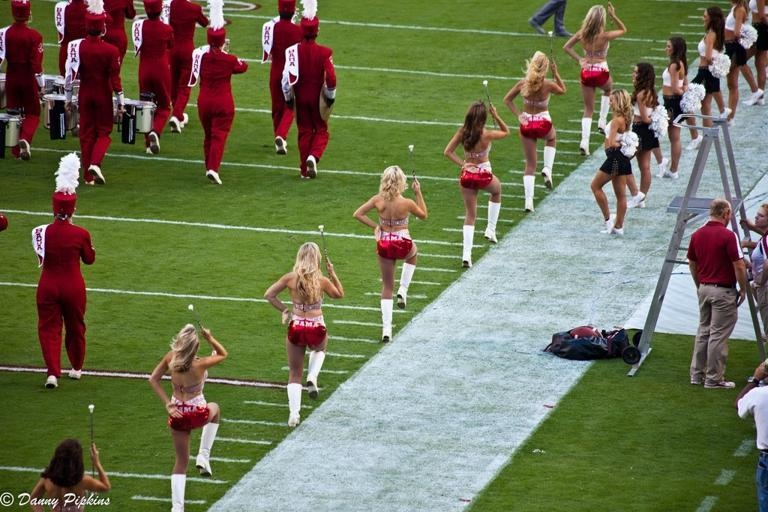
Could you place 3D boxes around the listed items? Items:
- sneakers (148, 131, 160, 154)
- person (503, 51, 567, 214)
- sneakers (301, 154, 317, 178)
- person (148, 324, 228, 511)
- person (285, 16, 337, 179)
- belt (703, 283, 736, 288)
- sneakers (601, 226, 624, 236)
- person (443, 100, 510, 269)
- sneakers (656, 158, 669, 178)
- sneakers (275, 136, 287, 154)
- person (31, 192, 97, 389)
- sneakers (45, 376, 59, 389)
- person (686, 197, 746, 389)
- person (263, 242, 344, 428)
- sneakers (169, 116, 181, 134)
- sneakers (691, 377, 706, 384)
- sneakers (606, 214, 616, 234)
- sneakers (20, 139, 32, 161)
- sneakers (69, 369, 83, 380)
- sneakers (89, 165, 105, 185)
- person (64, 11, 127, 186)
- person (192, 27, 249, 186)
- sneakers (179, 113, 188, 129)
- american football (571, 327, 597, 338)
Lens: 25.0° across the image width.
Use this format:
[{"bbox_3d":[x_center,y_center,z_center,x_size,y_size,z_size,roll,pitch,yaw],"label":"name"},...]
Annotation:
[{"bbox_3d":[-3.812,-1.886,28.653,0.164,0.385,0.168,9,46,10],"label":"sneakers"},{"bbox_3d":[2.328,-1.956,26.848,0.816,2.423,1.405,3,15,4],"label":"person"},{"bbox_3d":[-1.186,-1.415,27.807,0.179,0.427,0.195,27,57,8],"label":"sneakers"},{"bbox_3d":[-2.297,1.850,20.404,0.854,2.072,1.229,0,15,-5],"label":"person"},{"bbox_3d":[-1.199,-2.510,27.672,0.821,2.575,0.526,1,15,-1],"label":"person"},{"bbox_3d":[4.294,0.368,22.089,0.360,0.062,0.057,3,15,7],"label":"belt"},{"bbox_3d":[3.417,-0.365,25.937,0.323,0.124,0.106,6,10,18],"label":"sneakers"},{"bbox_3d":[1.360,-1.069,24.933,0.773,2.382,0.813,-1,15,-10],"label":"person"},{"bbox_3d":[4.513,-1.421,27.937,0.172,0.365,0.137,12,50,1],"label":"sneakers"},{"bbox_3d":[-1.708,-1.848,28.701,0.128,0.143,0.322,3,-26,11],"label":"sneakers"},{"bbox_3d":[-4.080,0.416,22.038,0.783,2.388,0.656,-11,20,-40],"label":"person"},{"bbox_3d":[-4.201,1.599,21.936,0.139,0.166,0.072,5,-20,-7],"label":"sneakers"},{"bbox_3d":[4.235,0.478,22.168,0.768,2.383,0.580,8,16,22],"label":"person"},{"bbox_3d":[-0.948,0.900,21.751,1.076,2.233,0.974,-6,17,-27],"label":"person"},{"bbox_3d":[-3.579,-2.258,29.832,0.139,0.150,0.334,31,-15,9],"label":"sneakers"},{"bbox_3d":[4.033,1.599,22.281,0.074,0.086,0.201,5,6,27],"label":"sneakers"},{"bbox_3d":[3.398,-0.487,25.955,0.142,0.300,0.112,9,34,5],"label":"sneakers"},{"bbox_3d":[-5.780,-1.709,28.042,0.134,0.323,0.151,11,38,5],"label":"sneakers"},{"bbox_3d":[-3.930,1.509,22.214,0.144,0.120,0.133,-8,15,-38],"label":"sneakers"},{"bbox_3d":[-4.516,-1.287,27.274,0.160,0.349,0.148,8,58,27],"label":"sneakers"},{"bbox_3d":[-4.520,-2.438,27.066,0.866,2.746,0.605,-1,15,-10],"label":"person"},{"bbox_3d":[-2.619,-2.381,27.583,0.788,2.401,0.778,-5,16,-23],"label":"person"},{"bbox_3d":[-3.537,-2.360,30.324,0.189,0.217,0.236,10,15,20],"label":"sneakers"},{"bbox_3d":[2.634,0.999,22.888,0.345,0.114,0.208,3,14,5],"label":"american football"}]
